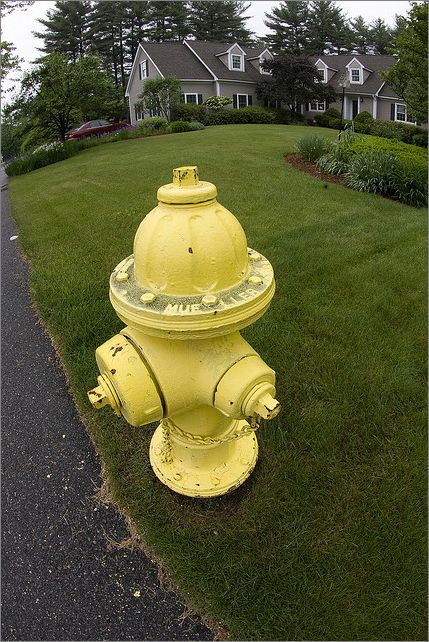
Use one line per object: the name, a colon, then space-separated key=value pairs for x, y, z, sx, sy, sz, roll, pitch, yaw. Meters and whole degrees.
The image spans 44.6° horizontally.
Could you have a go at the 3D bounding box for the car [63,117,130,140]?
car: x=-6.024 y=-9.574 z=25.725 sx=1.626 sy=0.833 sz=4.146 roll=2 pitch=21 yaw=12
